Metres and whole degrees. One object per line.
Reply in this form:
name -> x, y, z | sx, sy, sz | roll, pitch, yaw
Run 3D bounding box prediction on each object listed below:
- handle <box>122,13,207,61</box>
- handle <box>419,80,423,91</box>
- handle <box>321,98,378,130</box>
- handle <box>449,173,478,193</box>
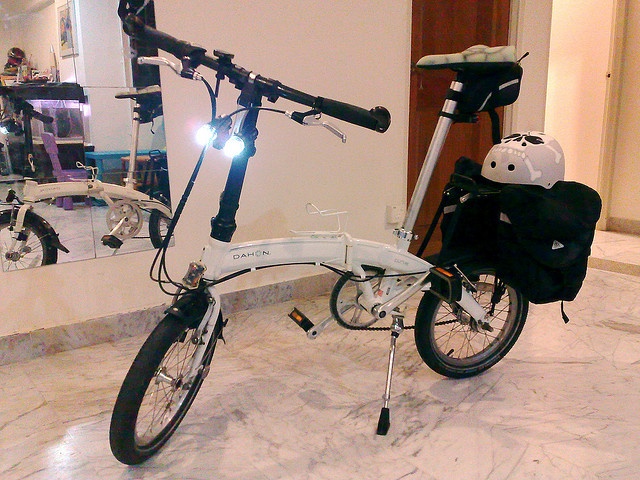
handle -> -0.582, -0.762, 2.088 | 0.285, 0.157, 0.094 | 8, 21, 19
handle -> 0.702, -1.078, 3.879 | 0.026, 0.071, 0.022 | -4, 21, -15
handle -> 0.107, -0.487, 2.185 | 0.305, 0.087, 0.086 | 15, 15, -4
handle -> 0.644, -0.265, 2.497 | 0.120, 0.059, 0.188 | 4, 19, 7
